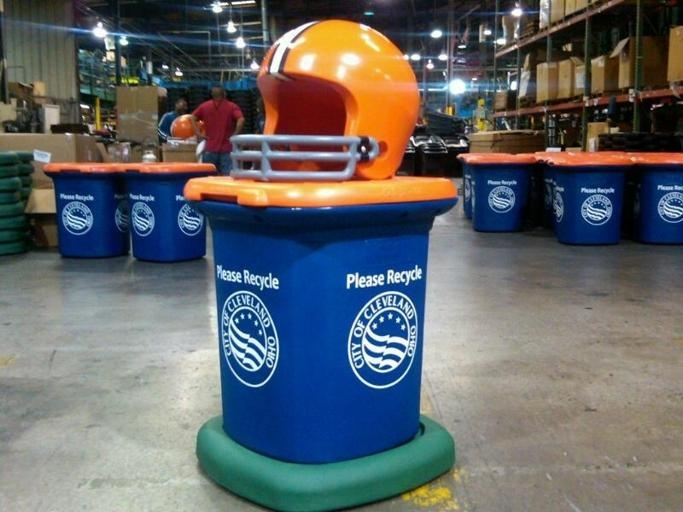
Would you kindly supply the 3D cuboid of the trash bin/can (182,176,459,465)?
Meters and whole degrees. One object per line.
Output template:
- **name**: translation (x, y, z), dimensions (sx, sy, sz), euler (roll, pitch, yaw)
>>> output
- **trash bin/can**: translation (-0.108, 0.285, 2.661), dimensions (1.049, 1.245, 1.088), euler (-2, 5, -30)
